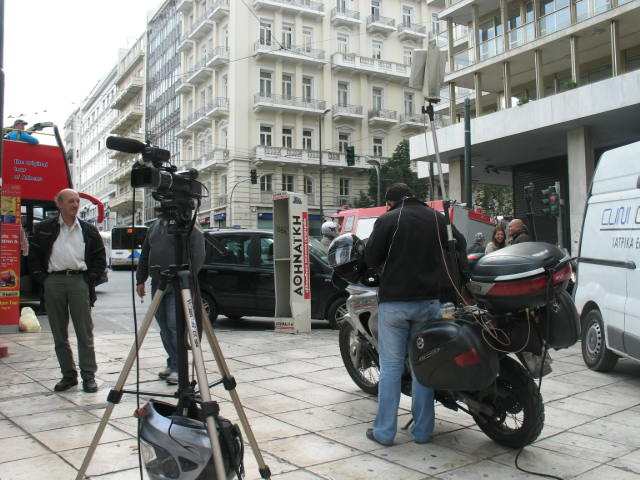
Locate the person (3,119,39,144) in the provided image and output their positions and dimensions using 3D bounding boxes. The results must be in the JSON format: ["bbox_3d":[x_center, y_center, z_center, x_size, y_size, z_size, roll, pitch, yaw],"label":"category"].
[{"bbox_3d":[-6.478,-2.363,14.062,0.567,0.529,0.780,0,4,-14],"label":"person"}]

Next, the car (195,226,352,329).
[{"bbox_3d":[-0.908,0.664,12.542,2.637,1.464,1.632,-1,-3,-3],"label":"car"}]

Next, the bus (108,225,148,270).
[{"bbox_3d":[-14.072,0.201,45.890,2.971,3.004,5.681,-1,9,-31],"label":"bus"}]

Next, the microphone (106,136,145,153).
[{"bbox_3d":[-1.438,-0.696,4.789,0.245,0.124,0.090,13,32,-19],"label":"microphone"}]

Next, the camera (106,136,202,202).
[{"bbox_3d":[-1.245,-0.508,4.999,0.240,0.433,0.804,-5,-9,42],"label":"camera"}]

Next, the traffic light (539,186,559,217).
[{"bbox_3d":[6.413,-1.029,17.866,0.454,0.852,0.518,-6,-12,39],"label":"traffic light"}]

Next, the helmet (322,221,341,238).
[{"bbox_3d":[0.184,-0.159,10.155,0.270,0.230,0.215,-6,7,-14],"label":"helmet"}]

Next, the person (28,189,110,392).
[{"bbox_3d":[-3.005,0.600,7.719,0.855,2.371,0.624,-1,4,-17],"label":"person"}]
